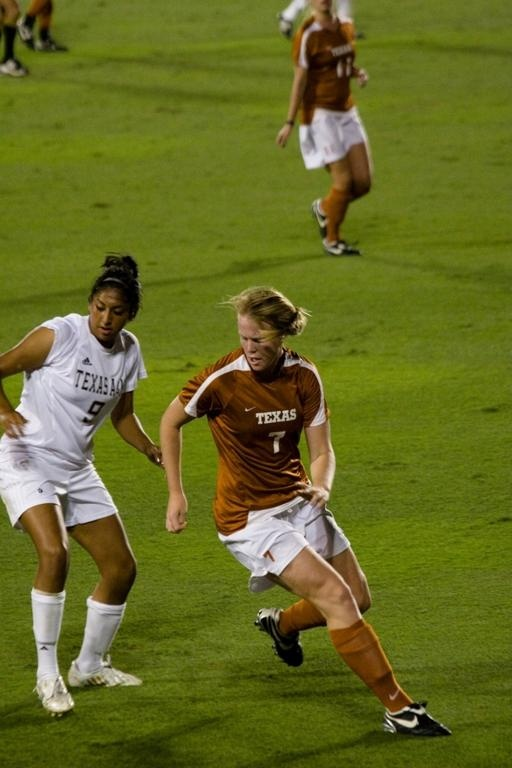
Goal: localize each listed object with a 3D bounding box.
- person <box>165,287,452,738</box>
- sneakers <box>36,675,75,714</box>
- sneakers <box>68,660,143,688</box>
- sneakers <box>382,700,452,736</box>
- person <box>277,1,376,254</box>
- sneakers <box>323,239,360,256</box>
[{"bbox_3d":[0.148,0.347,3.634,1.072,1.279,0.517,12,19,28],"label":"person"},{"bbox_3d":[-0.640,0.981,3.547,0.096,0.054,0.139,-19,49,-25],"label":"sneakers"},{"bbox_3d":[-0.522,0.985,3.848,0.266,0.087,0.095,-1,-1,-5],"label":"sneakers"},{"bbox_3d":[0.479,1.024,3.465,0.242,0.097,0.086,2,0,9],"label":"sneakers"},{"bbox_3d":[0.473,-1.924,8.699,0.905,1.967,0.706,-4,19,-23],"label":"person"},{"bbox_3d":[0.688,-1.122,9.364,0.352,0.131,0.109,4,44,-2],"label":"sneakers"}]
